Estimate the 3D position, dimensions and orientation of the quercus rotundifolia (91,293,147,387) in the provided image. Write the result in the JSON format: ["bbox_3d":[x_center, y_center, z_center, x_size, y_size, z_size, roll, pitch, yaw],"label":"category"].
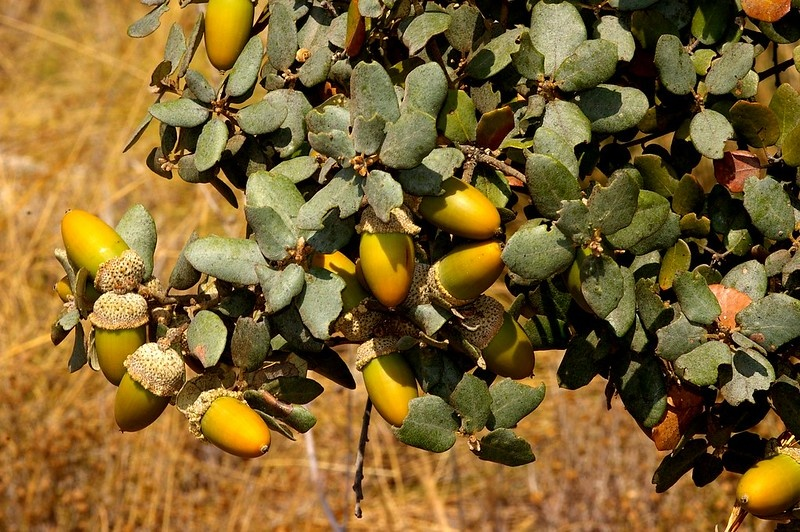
[{"bbox_3d":[-1.006,0.262,3.633,0.200,0.342,0.209,8,8,-3],"label":"quercus rotundifolia"}]

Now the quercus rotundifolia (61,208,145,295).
[{"bbox_3d":[-1.033,-0.047,3.669,0.356,0.200,0.190,53,4,5],"label":"quercus rotundifolia"}]

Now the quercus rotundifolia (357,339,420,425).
[{"bbox_3d":[-0.053,0.378,3.577,0.151,0.180,0.323,-9,71,-41],"label":"quercus rotundifolia"}]

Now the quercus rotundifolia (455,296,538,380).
[{"bbox_3d":[0.343,0.272,3.550,0.196,0.141,0.337,-47,110,-15],"label":"quercus rotundifolia"}]

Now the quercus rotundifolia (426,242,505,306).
[{"bbox_3d":[0.226,0.020,3.499,0.164,0.253,0.156,38,27,-51],"label":"quercus rotundifolia"}]

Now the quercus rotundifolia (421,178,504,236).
[{"bbox_3d":[0.213,-0.179,3.485,0.291,0.165,0.193,8,83,-21],"label":"quercus rotundifolia"}]
